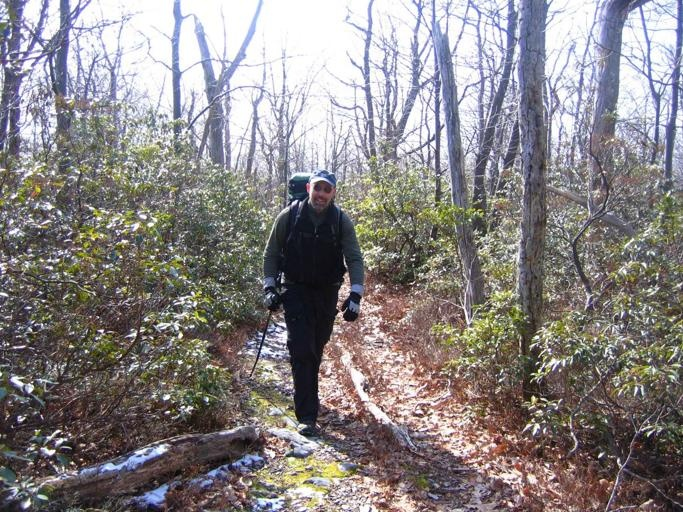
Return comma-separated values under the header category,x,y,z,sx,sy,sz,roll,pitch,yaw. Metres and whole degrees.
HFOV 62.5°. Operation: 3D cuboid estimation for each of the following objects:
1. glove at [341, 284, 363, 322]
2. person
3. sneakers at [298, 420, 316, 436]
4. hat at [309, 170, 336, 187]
category,x,y,z,sx,sy,sz,roll,pitch,yaw
glove,0.124,0.560,6.621,0.136,0.398,0.249,-10,-38,20
person,-0.365,0.486,6.750,1.195,3.031,0.973,3,10,-1
sneakers,-0.396,1.960,6.477,0.227,0.149,0.176,4,10,-5
hat,-0.224,-0.940,6.717,0.304,0.200,0.367,4,10,-6
